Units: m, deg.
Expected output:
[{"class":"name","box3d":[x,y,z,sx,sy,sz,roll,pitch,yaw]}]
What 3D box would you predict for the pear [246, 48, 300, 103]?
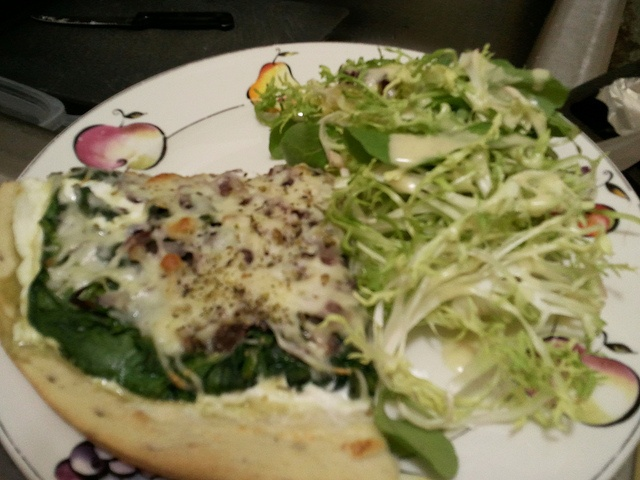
[{"class":"pear","box3d":[-0.223,-0.839,3.171,0.311,0.277,0.339,4,79,3]}]
